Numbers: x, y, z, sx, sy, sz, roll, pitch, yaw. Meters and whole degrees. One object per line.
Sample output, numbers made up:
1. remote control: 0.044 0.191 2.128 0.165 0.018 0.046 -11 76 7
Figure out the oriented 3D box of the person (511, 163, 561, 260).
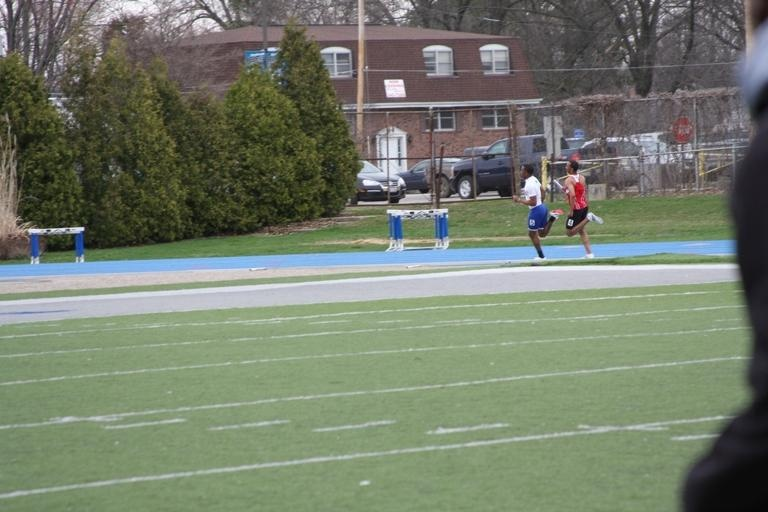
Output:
1. person: 4.178 -1.256 43.578 1.602 2.479 0.880 0 1 1
